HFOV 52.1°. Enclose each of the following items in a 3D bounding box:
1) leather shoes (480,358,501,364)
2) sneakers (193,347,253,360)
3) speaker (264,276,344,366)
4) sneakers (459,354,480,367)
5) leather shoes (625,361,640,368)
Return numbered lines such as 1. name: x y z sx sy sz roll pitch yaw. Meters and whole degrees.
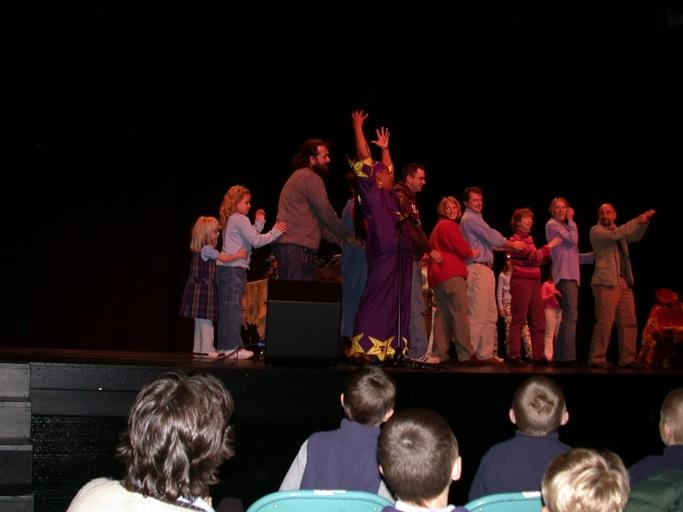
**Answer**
1. leather shoes: 1.272 0.893 5.970 0.178 0.073 0.200 2 -11 12
2. sneakers: -0.931 0.766 5.466 0.476 0.150 0.166 1 -4 -4
3. speaker: -0.359 0.439 4.669 0.603 0.637 0.496 -1 -7 25
4. sneakers: 1.058 0.860 5.793 0.191 0.132 0.349 3 -11 10
5. leather shoes: 2.598 0.965 6.233 0.149 0.067 0.057 -5 -2 19
